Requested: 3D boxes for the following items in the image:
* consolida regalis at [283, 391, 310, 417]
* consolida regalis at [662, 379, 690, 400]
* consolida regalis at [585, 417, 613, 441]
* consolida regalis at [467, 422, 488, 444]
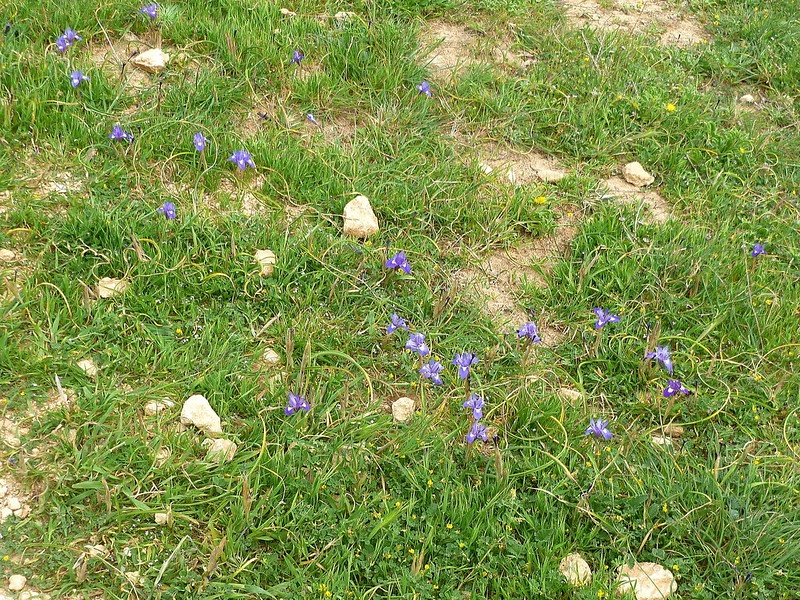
[{"bbox_3d":[-0.627,0.609,4.875,0.174,0.144,0.129,-14,50,-25],"label":"consolida regalis"},{"bbox_3d":[1.766,0.614,5.191,0.142,0.053,0.133,-30,48,-34],"label":"consolida regalis"},{"bbox_3d":[1.228,0.792,5.003,0.126,0.094,0.160,3,29,5],"label":"consolida regalis"},{"bbox_3d":[0.450,0.790,4.797,0.115,0.051,0.142,3,83,-9],"label":"consolida regalis"}]
